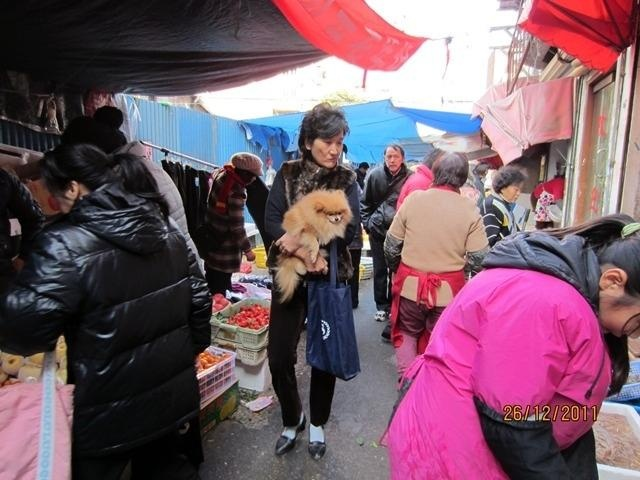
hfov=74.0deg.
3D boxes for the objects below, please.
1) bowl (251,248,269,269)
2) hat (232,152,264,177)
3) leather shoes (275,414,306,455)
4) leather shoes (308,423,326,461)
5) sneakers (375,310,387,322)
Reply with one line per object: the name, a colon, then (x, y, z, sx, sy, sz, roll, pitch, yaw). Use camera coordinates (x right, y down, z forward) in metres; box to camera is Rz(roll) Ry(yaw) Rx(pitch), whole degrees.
bowl: (-0.923, 0.292, 6.541, 0.302, 0.244, 0.322, -1, 7, 0)
hat: (-0.840, -0.886, 5.006, 0.321, 0.161, 0.245, 4, 42, -35)
leather shoes: (-0.242, 1.551, 3.486, 0.124, 0.156, 0.379, 4, 17, 25)
leather shoes: (-0.022, 1.599, 3.443, 0.135, 0.111, 0.391, -1, 18, -2)
sneakers: (0.871, 1.079, 6.020, 0.109, 0.156, 0.118, 10, 24, 8)
